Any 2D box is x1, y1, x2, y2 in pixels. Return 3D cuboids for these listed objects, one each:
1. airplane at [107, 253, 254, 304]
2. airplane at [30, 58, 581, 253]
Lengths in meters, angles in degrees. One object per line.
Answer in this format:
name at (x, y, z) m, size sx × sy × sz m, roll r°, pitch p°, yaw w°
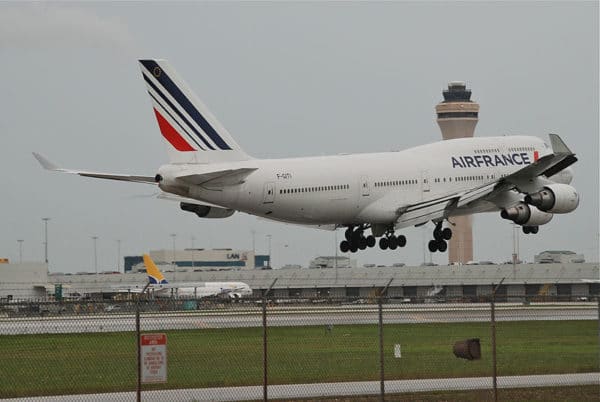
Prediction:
airplane at (-7.826, 4.667, 78.986) m, size 7.707 × 3.137 × 11.755 m, roll -1°, pitch -9°, yaw 10°
airplane at (2.115, -1.396, 55.951) m, size 18.367 × 6.071 × 7.493 m, roll 3°, pitch -10°, yaw -19°
